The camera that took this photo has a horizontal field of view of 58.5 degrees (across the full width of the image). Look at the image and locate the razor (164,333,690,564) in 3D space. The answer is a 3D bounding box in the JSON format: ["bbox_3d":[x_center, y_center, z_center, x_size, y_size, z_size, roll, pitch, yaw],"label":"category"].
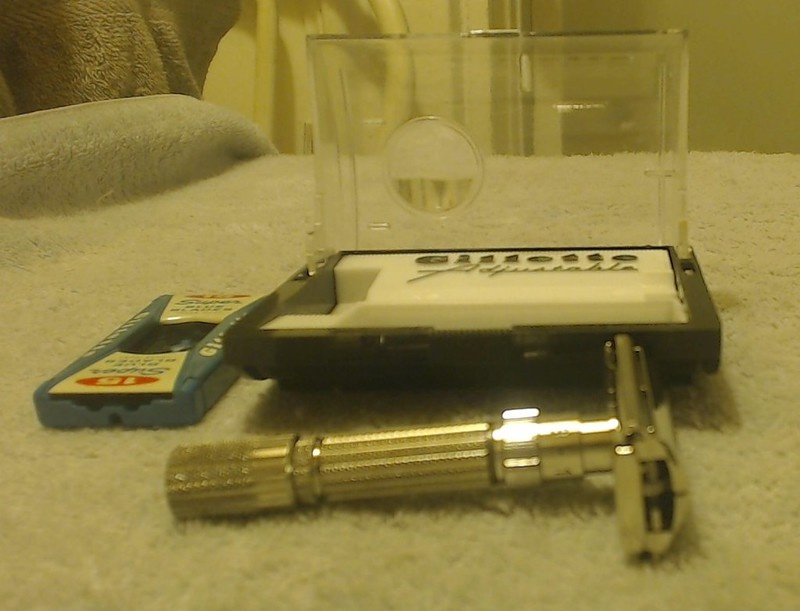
[{"bbox_3d":[0.013,0.067,0.323,0.172,0.043,0.098,-4,31,5],"label":"razor"}]
